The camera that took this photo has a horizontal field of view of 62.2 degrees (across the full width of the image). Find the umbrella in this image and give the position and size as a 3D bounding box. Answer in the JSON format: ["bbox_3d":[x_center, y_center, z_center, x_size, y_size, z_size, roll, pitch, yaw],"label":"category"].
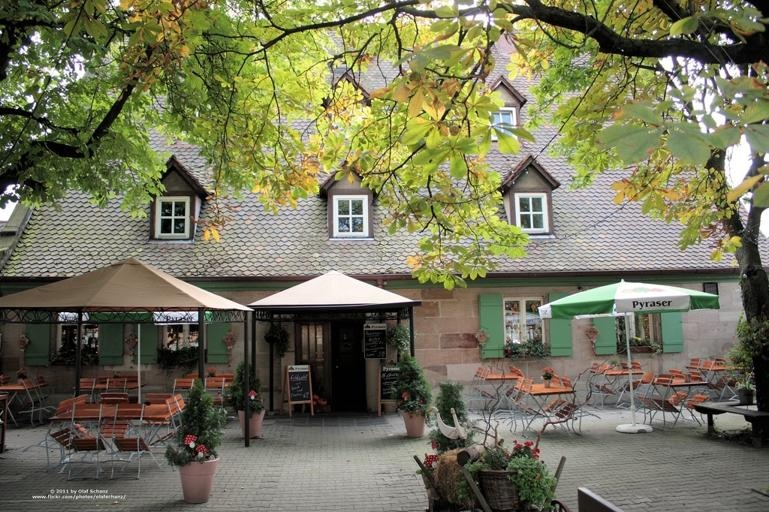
[{"bbox_3d":[5.813,2.486,16.172,3.861,3.228,3.888,-2,-14,4],"label":"umbrella"}]

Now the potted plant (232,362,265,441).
[{"bbox_3d":[-3.356,3.472,15.534,0.781,1.877,1.206,-1,0,-5],"label":"potted plant"}]

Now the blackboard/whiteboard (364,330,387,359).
[{"bbox_3d":[-0.280,2.495,18.154,0.818,0.984,0.100,-1,-3,-2],"label":"blackboard/whiteboard"}]

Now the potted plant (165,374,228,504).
[{"bbox_3d":[-3.371,3.323,11.469,0.768,2.225,0.727,-1,0,10],"label":"potted plant"}]
